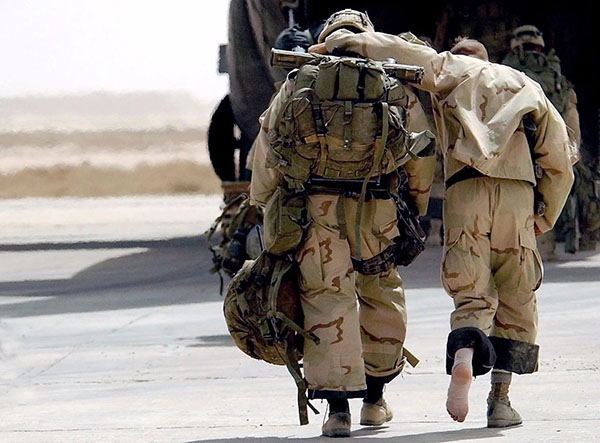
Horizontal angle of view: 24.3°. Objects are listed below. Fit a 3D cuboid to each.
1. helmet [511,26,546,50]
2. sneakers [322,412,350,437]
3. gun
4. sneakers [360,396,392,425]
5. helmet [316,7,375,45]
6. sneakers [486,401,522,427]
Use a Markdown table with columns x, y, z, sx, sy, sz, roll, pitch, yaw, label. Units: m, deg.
| x | y | z | sx | sy | sz | roll | pitch | yaw | label |
| --- | --- | --- | --- | --- | --- | --- | --- | --- | --- |
| 2.424 | -1.952 | 14.794 | 0.311 | 0.193 | 0.294 | -1 | 0 | -3 | helmet |
| 0.234 | 1.318 | 9.041 | 0.193 | 0.164 | 0.141 | -2 | 11 | -2 | sneakers |
| 0.231 | -1.018 | 9.097 | 0.860 | 0.280 | 0.165 | 8 | 38 | 4 | gun |
| 0.515 | 1.293 | 9.335 | 0.114 | 0.124 | 0.276 | 0 | 3 | 33 | sneakers |
| 0.318 | -1.268 | 9.386 | 0.271 | 0.273 | 0.318 | 6 | -24 | -2 | helmet |
| 1.339 | 1.279 | 9.148 | 0.119 | 0.144 | 0.274 | 0 | 2 | 40 | sneakers |
